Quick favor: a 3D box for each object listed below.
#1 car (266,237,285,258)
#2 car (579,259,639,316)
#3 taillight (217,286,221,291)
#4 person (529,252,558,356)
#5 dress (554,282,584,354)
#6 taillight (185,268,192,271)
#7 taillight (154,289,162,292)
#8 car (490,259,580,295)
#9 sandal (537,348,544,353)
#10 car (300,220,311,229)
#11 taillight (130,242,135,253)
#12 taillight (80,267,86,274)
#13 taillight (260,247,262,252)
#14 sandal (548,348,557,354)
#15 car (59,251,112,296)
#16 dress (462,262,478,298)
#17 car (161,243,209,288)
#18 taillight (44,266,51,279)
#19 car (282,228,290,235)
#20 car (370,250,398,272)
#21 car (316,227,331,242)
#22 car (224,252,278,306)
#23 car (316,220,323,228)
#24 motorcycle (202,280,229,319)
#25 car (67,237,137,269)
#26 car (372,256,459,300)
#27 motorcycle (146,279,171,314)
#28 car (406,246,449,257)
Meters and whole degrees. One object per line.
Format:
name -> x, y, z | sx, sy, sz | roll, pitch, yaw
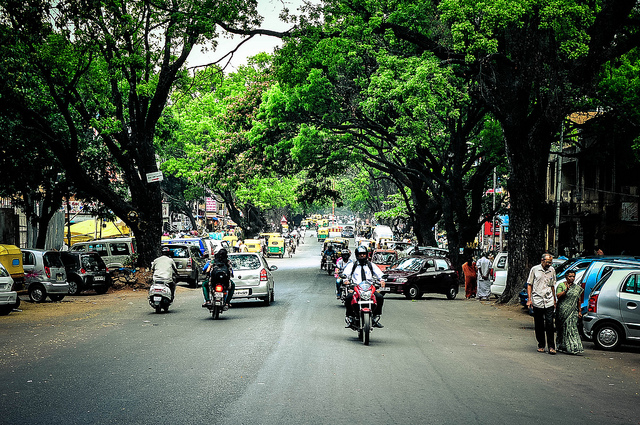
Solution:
car -> -4.437, 3.326, 59.719 | 1.406, 1.333, 2.147 | 1, 5, -1
car -> 8.434, 1.994, 16.816 | 2.048, 1.117, 1.246 | -4, -1, 6
taillight -> -3.113, 2.334, 18.174 | 0.104, 0.138, 0.032 | -2, -2, 3
person -> 5.925, 2.338, 15.492 | 0.692, 2.587, 1.433 | -2, -2, 21
dress -> 6.541, 2.770, 15.398 | 0.663, 1.838, 0.468 | -2, -2, 12
taillight -> -6.907, 2.963, 30.890 | 0.356, 0.134, 0.066 | -1, -2, -15
taillight -> -5.456, 2.618, 19.808 | 0.272, 0.088, 0.040 | -2, -2, 7
car -> 9.011, 2.603, 25.561 | 2.712, 1.341, 1.619 | -8, 3, 4
sandal -> 5.699, 3.532, 15.086 | 0.141, 0.087, 0.083 | 1, 2, 18
car -> -3.949, 3.240, 182.794 | 2.172, 2.174, 3.170 | 1, -1, 8
taillight -> -10.542, 1.962, 33.010 | 0.154, 0.650, 0.188 | -14, -3, 28
taillight -> -10.796, 2.634, 26.743 | 0.201, 0.203, 0.065 | 3, -15, -45
taillight -> -5.250, 3.242, 52.505 | 0.288, 0.289, 0.284 | 0, -13, -4
sandal -> 5.948, 3.527, 14.986 | 0.070, 0.091, 0.229 | -5, -7, -4
car -> -10.834, 2.651, 27.037 | 2.344, 1.244, 1.404 | 3, 1, 39
dress -> 7.768, 3.424, 30.099 | 0.621, 1.783, 1.077 | -2, -2, 13
car -> -7.069, 2.839, 31.649 | 1.268, 2.411, 2.556 | -2, -3, 14
taillight -> -11.050, 2.368, 23.719 | 0.244, 0.400, 0.107 | 3, 23, 17
car -> -6.141, 3.204, 104.816 | 1.235, 0.890, 1.940 | 1, 4, 0
car -> 3.707, 2.790, 33.819 | 1.253, 1.178, 2.162 | 2, 19, 7
car -> 0.632, 3.386, 94.696 | 2.259, 1.816, 3.226 | 1, 6, -2
car -> -2.565, 2.491, 21.684 | 1.444, 1.928, 0.843 | -1, -2, -15
car -> 0.065, 2.253, 154.546 | 2.015, 2.636, 3.686 | 1, 7, 3
motorcycle -> -3.187, 2.723, 18.541 | 0.548, 1.247, 0.759 | -2, -2, 9
car -> -12.420, 2.522, 33.698 | 4.020, 2.299, 2.149 | 0, 6, 1
car -> 4.679, 3.085, 28.503 | 3.959, 1.974, 2.377 | 6, -8, -36
motorcycle -> -5.458, 2.837, 20.059 | 0.711, 1.168, 0.618 | -1, -2, -14
car -> 6.942, 2.397, 36.487 | 2.133, 0.782, 1.242 | 2, -2, -5
